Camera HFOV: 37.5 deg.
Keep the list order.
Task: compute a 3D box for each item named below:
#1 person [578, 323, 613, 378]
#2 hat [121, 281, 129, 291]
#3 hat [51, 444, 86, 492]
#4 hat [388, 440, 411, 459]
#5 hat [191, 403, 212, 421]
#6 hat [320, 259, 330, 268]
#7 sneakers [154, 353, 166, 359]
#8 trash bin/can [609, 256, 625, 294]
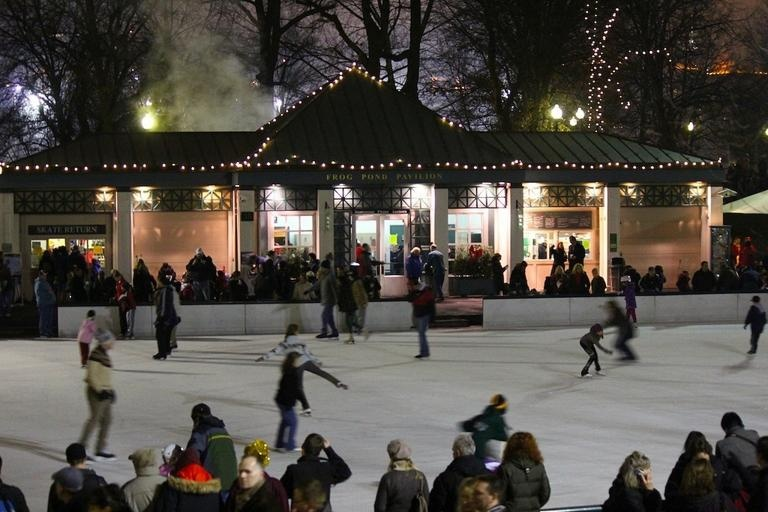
[{"bbox_3d":[5.990,2.666,32.211,0.821,1.452,1.227,-1,0,13],"label":"person"},{"bbox_3d":[-8.325,0.972,36.610,0.165,0.240,0.213,-2,-4,-13],"label":"hat"},{"bbox_3d":[-6.533,4.476,23.573,1.034,1.087,0.523,4,14,-9],"label":"hat"},{"bbox_3d":[0.311,3.926,23.023,0.314,0.389,0.433,-1,16,-2],"label":"hat"},{"bbox_3d":[-3.903,3.368,24.408,0.363,0.456,0.484,-1,15,-17],"label":"hat"},{"bbox_3d":[-1.920,0.251,36.934,0.257,0.258,0.263,1,-6,2],"label":"hat"},{"bbox_3d":[-6.663,3.023,33.837,0.430,0.208,0.149,5,10,14],"label":"sneakers"},{"bbox_3d":[9.033,0.966,44.130,0.764,0.690,2.149,8,30,8],"label":"trash bin/can"}]
